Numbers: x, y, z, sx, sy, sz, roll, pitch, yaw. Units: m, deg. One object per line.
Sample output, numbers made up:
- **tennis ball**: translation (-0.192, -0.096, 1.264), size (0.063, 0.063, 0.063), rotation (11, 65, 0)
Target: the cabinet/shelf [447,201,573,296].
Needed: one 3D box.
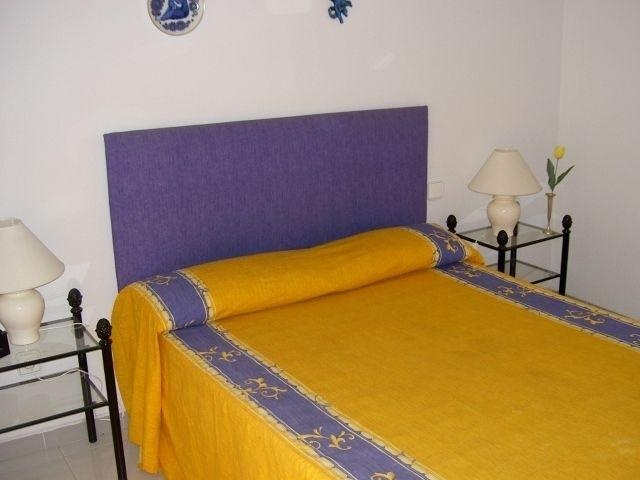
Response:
- **cabinet/shelf**: translation (1.330, 0.047, 3.517), size (0.465, 0.815, 0.460), rotation (-20, 31, -34)

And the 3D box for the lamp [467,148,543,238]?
- **lamp**: translation (1.297, -0.374, 3.681), size (0.579, 0.710, 0.588), rotation (6, 18, 29)
